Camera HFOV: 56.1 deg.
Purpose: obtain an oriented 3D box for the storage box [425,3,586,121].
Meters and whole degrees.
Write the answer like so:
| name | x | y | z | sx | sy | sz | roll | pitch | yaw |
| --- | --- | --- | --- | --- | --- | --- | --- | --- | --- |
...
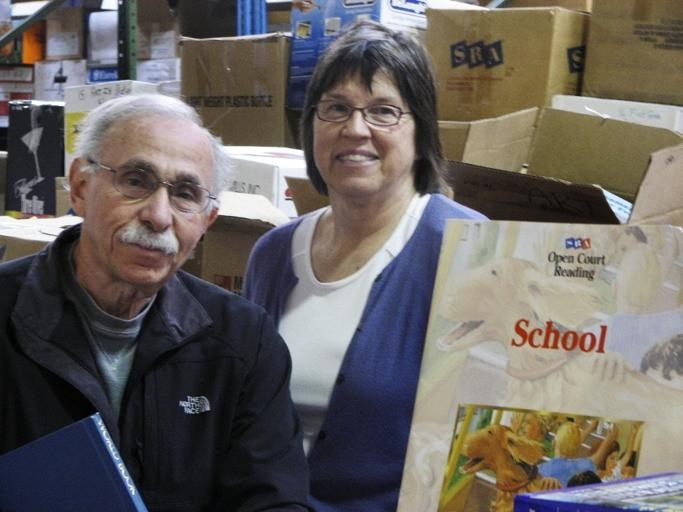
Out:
| name | x | y | z | sx | sy | sz | roll | pitch | yaw |
| --- | --- | --- | --- | --- | --- | --- | --- | --- | --- |
| storage box | 0.619 | -0.735 | 2.468 | 0.520 | 0.416 | 0.526 | 8 | 14 | 33 |

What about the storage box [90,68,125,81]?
| name | x | y | z | sx | sy | sz | roll | pitch | yaw |
| --- | --- | --- | --- | --- | --- | --- | --- | --- | --- |
| storage box | -1.472 | -1.126 | 3.997 | 0.279 | 0.098 | 0.074 | 11 | 13 | 36 |

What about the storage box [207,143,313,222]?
| name | x | y | z | sx | sy | sz | roll | pitch | yaw |
| --- | --- | --- | --- | --- | --- | --- | --- | --- | --- |
| storage box | -0.289 | -0.315 | 2.479 | 0.373 | 0.188 | 0.282 | 13 | 11 | 38 |

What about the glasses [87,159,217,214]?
| name | x | y | z | sx | sy | sz | roll | pitch | yaw |
| --- | --- | --- | --- | --- | --- | --- | --- | --- | --- |
| glasses | -0.457 | -0.159 | 1.525 | 0.268 | 0.111 | 0.094 | 1 | 11 | -18 |

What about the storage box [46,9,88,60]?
| name | x | y | z | sx | sy | sz | roll | pitch | yaw |
| --- | --- | --- | --- | --- | --- | --- | --- | --- | --- |
| storage box | -1.725 | -1.403 | 4.066 | 0.267 | 0.389 | 0.203 | 3 | 9 | 8 |
